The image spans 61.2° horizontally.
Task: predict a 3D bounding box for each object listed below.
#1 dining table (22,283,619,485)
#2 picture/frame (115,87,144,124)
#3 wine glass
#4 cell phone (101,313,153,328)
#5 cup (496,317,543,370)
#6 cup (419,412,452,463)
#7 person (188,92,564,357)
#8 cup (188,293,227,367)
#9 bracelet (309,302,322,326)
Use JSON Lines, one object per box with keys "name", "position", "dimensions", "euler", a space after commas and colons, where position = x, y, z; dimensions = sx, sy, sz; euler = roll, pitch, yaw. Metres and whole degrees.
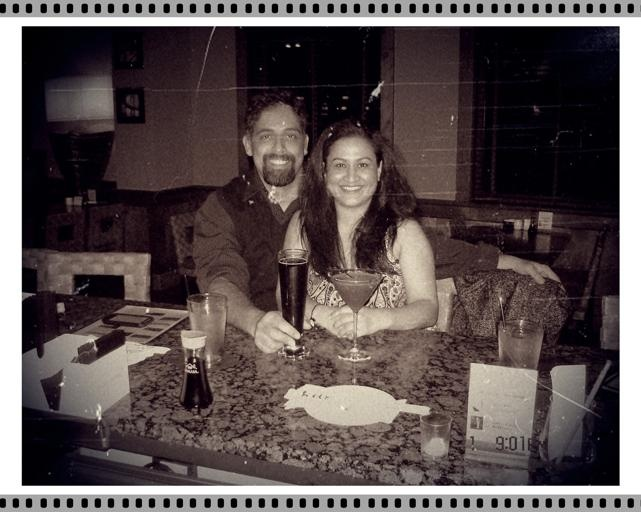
{"name": "dining table", "position": [0.097, 0.407, 1.535], "dimensions": [1.346, 0.202, 0.651], "euler": [3, 7, 13]}
{"name": "picture/frame", "position": [-1.970, -1.544, 5.592], "dimensions": [0.333, 0.322, 0.320], "euler": [1, 10, -4]}
{"name": "wine glass", "position": [0.112, 0.193, 1.758], "dimensions": [0.230, 0.318, 0.230], "euler": [1, 3, 2]}
{"name": "cell phone", "position": [-0.692, 0.232, 1.934], "dimensions": [0.194, 0.020, 0.117], "euler": [2, 5, 16]}
{"name": "cup", "position": [0.565, 0.239, 1.540], "dimensions": [0.137, 0.135, 0.120], "euler": [-1, 4, -32]}
{"name": "cup", "position": [0.267, 0.416, 1.266], "dimensions": [0.070, 0.082, 0.090], "euler": [3, 8, 11]}
{"name": "person", "position": [-0.082, -0.185, 2.603], "dimensions": [1.137, 0.846, 1.437], "euler": [-3, 4, -26]}
{"name": "cup", "position": [-0.344, 0.227, 1.638], "dimensions": [0.121, 0.197, 0.119], "euler": [0, 5, 0]}
{"name": "bracelet", "position": [-0.018, 0.225, 2.000], "dimensions": [0.049, 0.057, 0.065], "euler": [-2, 0, 2]}
